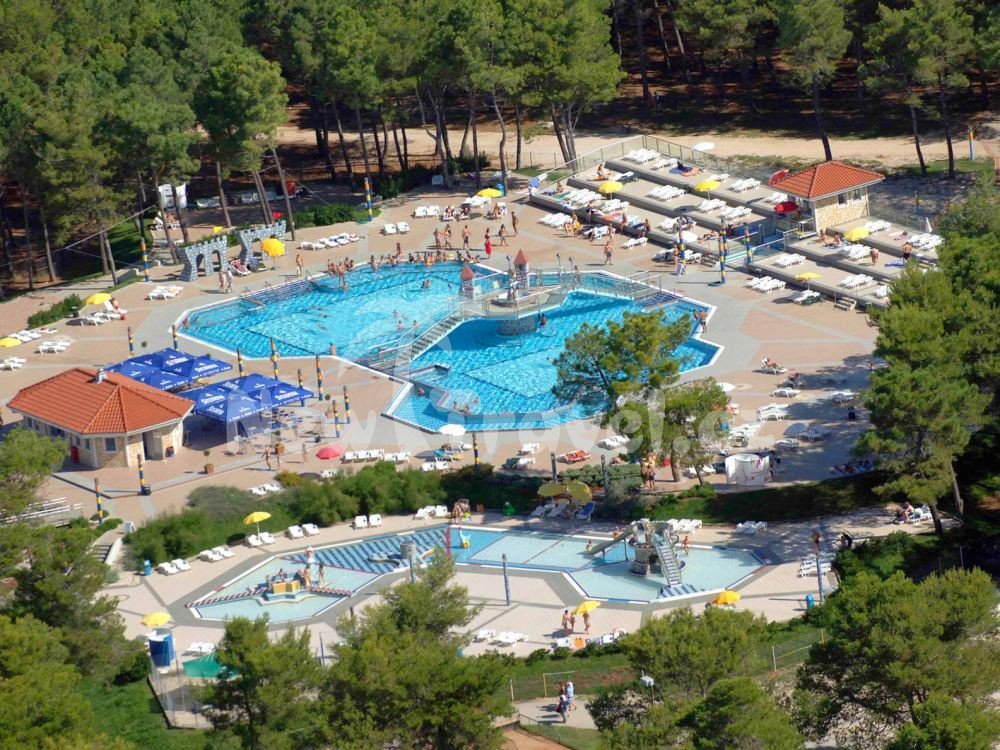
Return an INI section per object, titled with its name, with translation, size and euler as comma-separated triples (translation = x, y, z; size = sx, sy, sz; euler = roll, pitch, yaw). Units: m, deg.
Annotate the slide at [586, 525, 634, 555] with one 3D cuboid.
[slide]
translation = 6.375, 9.756, 81.464
size = 1.191, 4.219, 0.982
euler = 21, 49, -27
